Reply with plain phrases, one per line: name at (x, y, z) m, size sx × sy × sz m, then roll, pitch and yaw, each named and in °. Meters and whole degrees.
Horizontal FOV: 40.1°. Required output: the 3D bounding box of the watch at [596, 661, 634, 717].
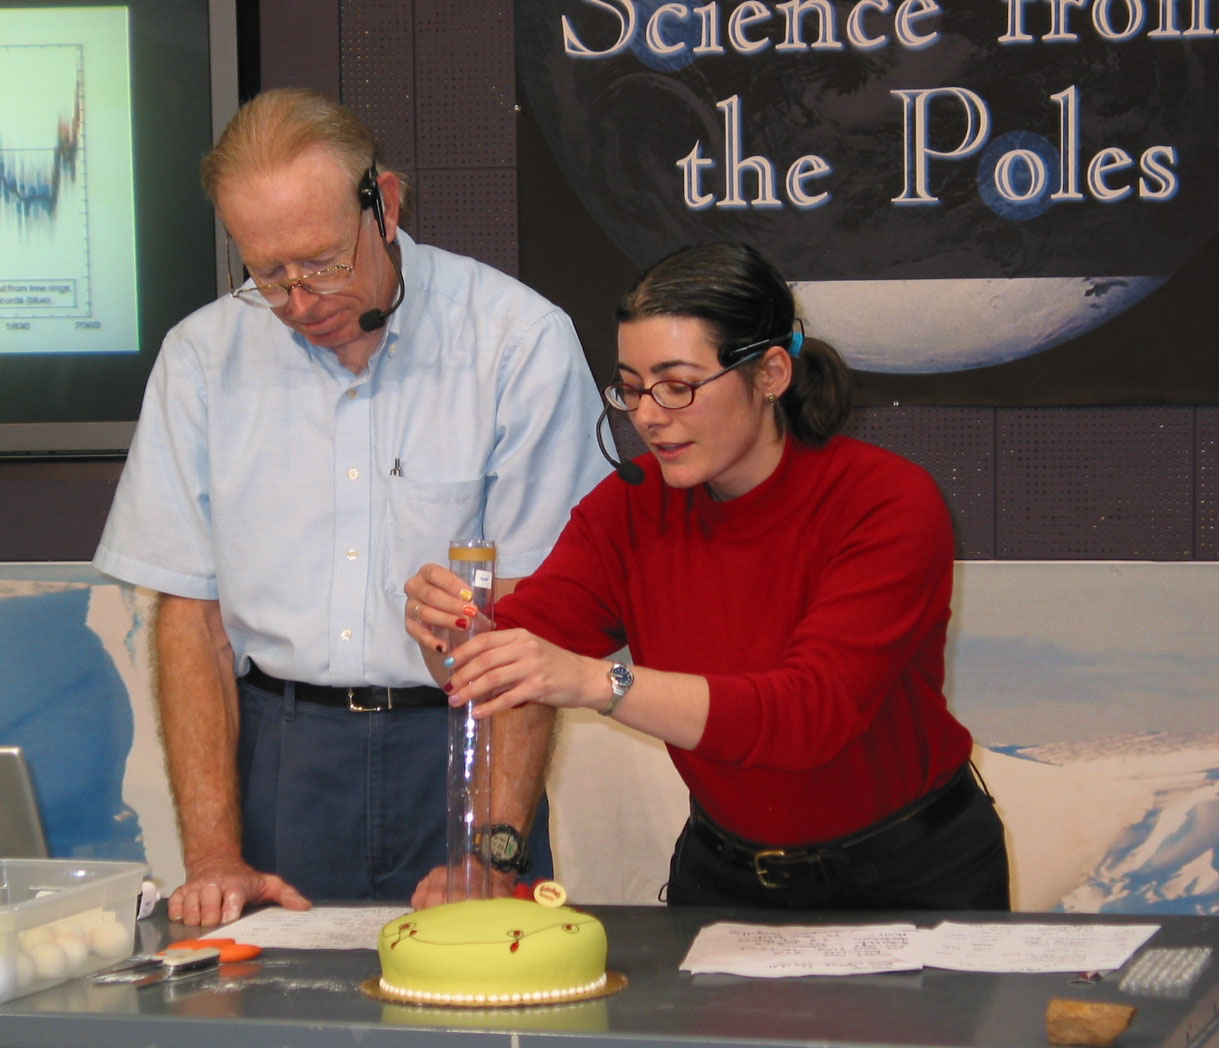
watch at (0.008, 0.214, 2.264) m, size 0.054 × 0.096 × 0.110 m, roll 5°, pitch -5°, yaw -5°

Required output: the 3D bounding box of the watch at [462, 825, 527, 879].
watch at (-0.162, 0.451, 2.300) m, size 0.067 × 0.061 × 0.083 m, roll 7°, pitch -13°, yaw -26°

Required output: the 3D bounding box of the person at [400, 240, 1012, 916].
person at (0.157, 0.137, 2.353) m, size 0.824 × 1.037 × 0.497 m, roll 4°, pitch 12°, yaw 14°

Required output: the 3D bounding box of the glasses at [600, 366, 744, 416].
glasses at (0.068, -0.185, 2.320) m, size 0.098 × 0.029 × 0.098 m, roll -1°, pitch 25°, yaw 39°

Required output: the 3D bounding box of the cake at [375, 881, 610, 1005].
cake at (-0.145, 0.542, 2.181) m, size 0.304 × 0.099 × 0.309 m, roll -1°, pitch -1°, yaw 2°
